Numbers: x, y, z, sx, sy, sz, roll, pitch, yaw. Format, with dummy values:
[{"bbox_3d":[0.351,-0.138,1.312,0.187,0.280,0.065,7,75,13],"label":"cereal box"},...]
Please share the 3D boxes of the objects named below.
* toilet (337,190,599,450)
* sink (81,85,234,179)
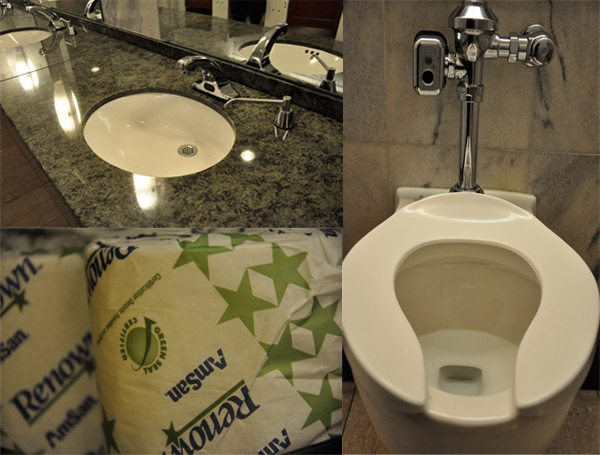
[{"bbox_3d":[0.256,0.135,0.985,0.391,0.438,0.522,-1,46,9],"label":"toilet"},{"bbox_3d":[-0.260,-0.176,1.034,0.282,0.140,0.179,4,28,-2],"label":"sink"}]
